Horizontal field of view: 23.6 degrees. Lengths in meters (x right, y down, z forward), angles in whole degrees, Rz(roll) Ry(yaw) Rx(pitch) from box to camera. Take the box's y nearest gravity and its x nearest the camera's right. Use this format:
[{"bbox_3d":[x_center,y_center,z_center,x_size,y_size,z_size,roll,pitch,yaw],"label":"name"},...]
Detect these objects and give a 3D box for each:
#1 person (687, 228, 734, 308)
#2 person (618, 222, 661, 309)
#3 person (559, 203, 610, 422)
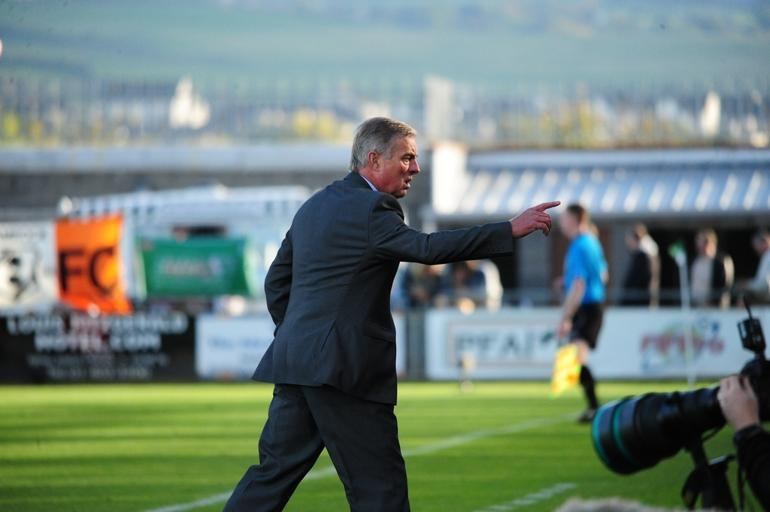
[{"bbox_3d":[3.773,0.141,21.265,0.484,0.858,1.402,-2,0,9],"label":"person"},{"bbox_3d":[2.927,0.090,21.145,0.446,0.913,2.194,-2,1,9],"label":"person"},{"bbox_3d":[1.852,0.546,17.026,0.602,1.922,0.858,-3,-41,14],"label":"person"}]
